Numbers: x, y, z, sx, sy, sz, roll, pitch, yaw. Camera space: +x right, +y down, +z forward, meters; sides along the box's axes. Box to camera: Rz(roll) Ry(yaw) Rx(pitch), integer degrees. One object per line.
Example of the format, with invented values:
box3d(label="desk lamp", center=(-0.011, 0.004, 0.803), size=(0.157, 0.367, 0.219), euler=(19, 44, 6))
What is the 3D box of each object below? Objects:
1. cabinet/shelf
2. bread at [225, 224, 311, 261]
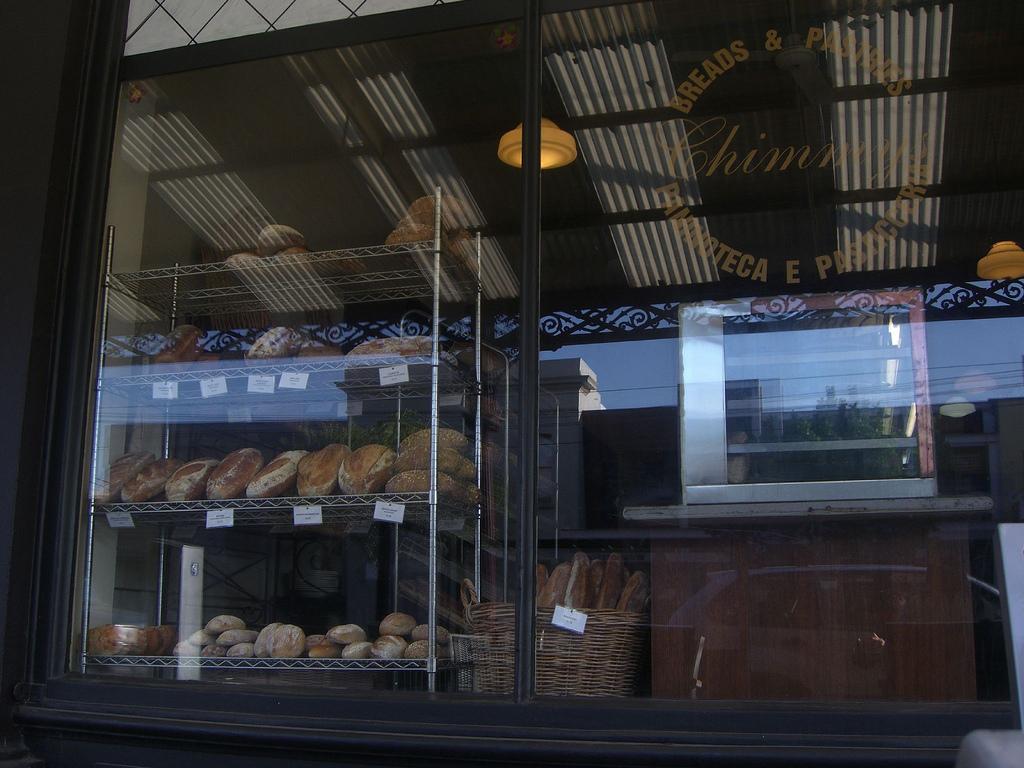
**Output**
box3d(label="cabinet/shelf", center=(-0.804, 0.240, 5.087), size=(1.488, 1.458, 0.519), euler=(-4, -12, 25))
box3d(label="bread", center=(-0.899, -0.500, 5.157), size=(0.234, 0.076, 0.165), euler=(-13, -20, 6))
